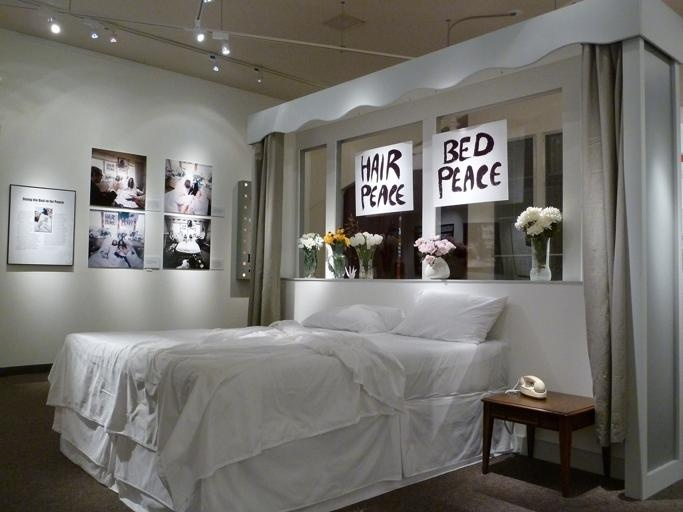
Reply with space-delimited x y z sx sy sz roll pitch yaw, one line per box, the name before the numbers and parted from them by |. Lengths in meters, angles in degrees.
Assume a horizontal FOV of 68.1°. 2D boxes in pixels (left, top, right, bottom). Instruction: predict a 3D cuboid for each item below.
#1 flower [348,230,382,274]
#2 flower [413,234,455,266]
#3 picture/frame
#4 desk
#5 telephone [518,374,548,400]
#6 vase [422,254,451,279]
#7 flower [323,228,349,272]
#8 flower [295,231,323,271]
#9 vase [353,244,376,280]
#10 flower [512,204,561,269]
flower | 0.261 -0.019 5.563 0.361 0.465 0.372 5 4 33
flower | 0.893 -0.078 4.853 0.264 0.257 0.275 3 7 40
picture/frame | -3.900 -0.384 6.465 0.966 1.519 0.045 0 1 -33
desk | 1.527 1.365 3.802 0.554 0.630 0.721 -1 -4 -36
telephone | 1.424 0.971 3.773 0.112 0.119 0.197 3 2 -23
vase | 0.897 0.122 4.877 0.207 0.233 0.221 2 -15 -21
flower | -0.053 -0.039 5.695 0.291 0.530 0.253 1 2 7
flower | -0.360 -0.016 5.899 0.316 0.467 0.332 -4 -10 18
vase | 0.266 0.074 5.488 0.284 0.450 0.281 4 -7 -38
flower | 1.676 -0.109 4.257 0.384 0.510 0.388 20 -22 -37
